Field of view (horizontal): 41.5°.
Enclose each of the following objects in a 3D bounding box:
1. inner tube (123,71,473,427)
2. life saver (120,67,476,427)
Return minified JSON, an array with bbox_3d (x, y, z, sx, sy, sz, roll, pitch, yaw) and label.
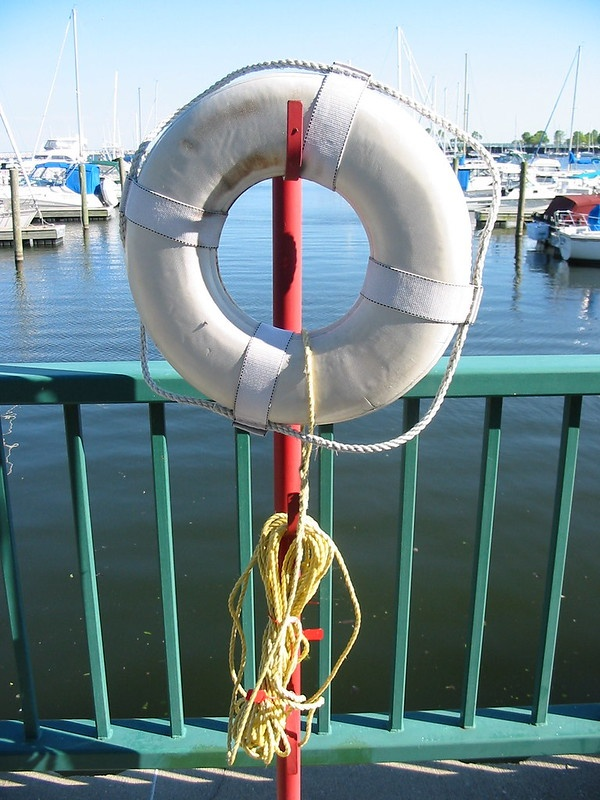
[{"bbox_3d":[0.003,-0.256,1.288,0.614,0.601,0.161,3,21,10],"label":"inner tube"},{"bbox_3d":[0.008,-0.259,1.368,0.613,0.607,0.164,3,21,10],"label":"life saver"}]
